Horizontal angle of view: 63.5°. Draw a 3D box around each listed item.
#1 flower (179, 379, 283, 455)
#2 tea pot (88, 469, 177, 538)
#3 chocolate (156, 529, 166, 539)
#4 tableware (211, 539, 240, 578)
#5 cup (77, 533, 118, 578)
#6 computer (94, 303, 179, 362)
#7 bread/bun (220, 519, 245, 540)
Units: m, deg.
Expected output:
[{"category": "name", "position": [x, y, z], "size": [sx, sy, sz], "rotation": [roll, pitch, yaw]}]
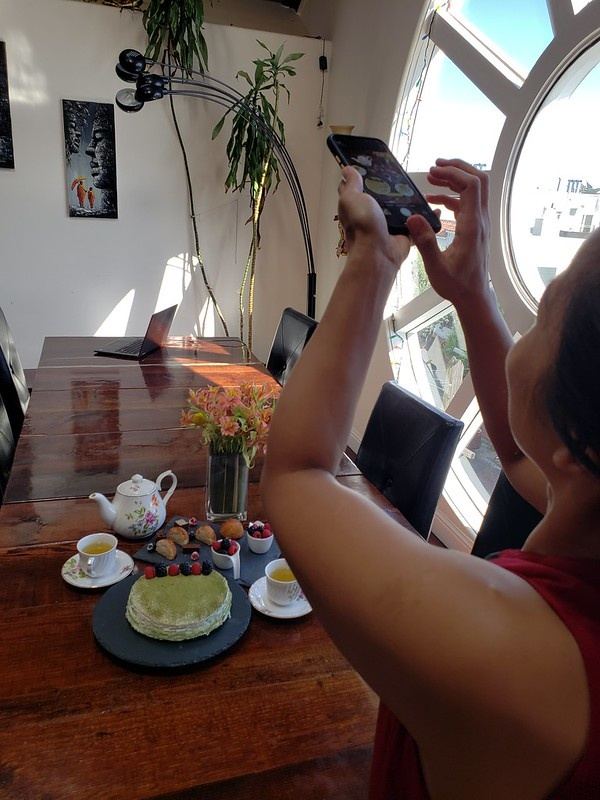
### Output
[{"category": "flower", "position": [-0.179, 0.068, 1.252], "size": [0.200, 0.225, 0.206], "rotation": [7, -13, -37]}, {"category": "tea pot", "position": [-0.406, 0.261, 1.202], "size": [0.201, 0.158, 0.133], "rotation": [-8, 16, -42]}, {"category": "chocolate", "position": [-0.339, 0.324, 1.164], "size": [0.016, 0.019, 0.013], "rotation": [1, 0, -13]}, {"category": "tableware", "position": [-0.165, 0.346, 1.074], "size": [0.049, 0.064, 0.085], "rotation": [-3, 22, -13]}, {"category": "cup", "position": [-0.424, 0.324, 1.033], "size": [0.058, 0.070, 0.097], "rotation": [1, 24, -3]}, {"category": "computer", "position": [-0.965, -0.445, 2.914], "size": [0.331, 0.296, 0.468], "rotation": [11, 18, 3]}, {"category": "bread/bun", "position": [-0.167, 0.319, 1.181], "size": [0.046, 0.032, 0.046], "rotation": [10, 12, 44]}]
